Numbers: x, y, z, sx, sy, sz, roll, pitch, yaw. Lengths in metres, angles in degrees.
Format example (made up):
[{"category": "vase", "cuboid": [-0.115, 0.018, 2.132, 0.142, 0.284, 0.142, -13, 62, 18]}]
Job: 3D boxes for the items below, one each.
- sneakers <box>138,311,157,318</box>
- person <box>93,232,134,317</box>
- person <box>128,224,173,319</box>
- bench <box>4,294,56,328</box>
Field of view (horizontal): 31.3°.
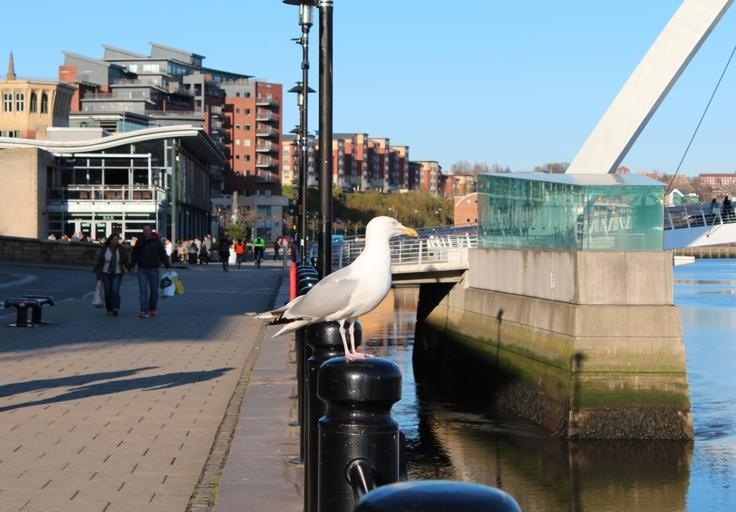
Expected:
[{"category": "sneakers", "cuboid": [-6.534, 1.712, 38.903, 0.520, 0.239, 0.187, 4, -10, -3]}, {"category": "person", "cuboid": [-7.622, 0.486, 39.005, 0.847, 2.356, 1.072, 0, 0, -13]}, {"category": "person", "cuboid": [-6.508, 0.411, 39.131, 1.086, 2.802, 1.243, 0, 0, -9]}, {"category": "bench", "cuboid": [-9.445, 1.484, 36.571, 0.643, 0.894, 1.690, 4, 14, 10]}]
